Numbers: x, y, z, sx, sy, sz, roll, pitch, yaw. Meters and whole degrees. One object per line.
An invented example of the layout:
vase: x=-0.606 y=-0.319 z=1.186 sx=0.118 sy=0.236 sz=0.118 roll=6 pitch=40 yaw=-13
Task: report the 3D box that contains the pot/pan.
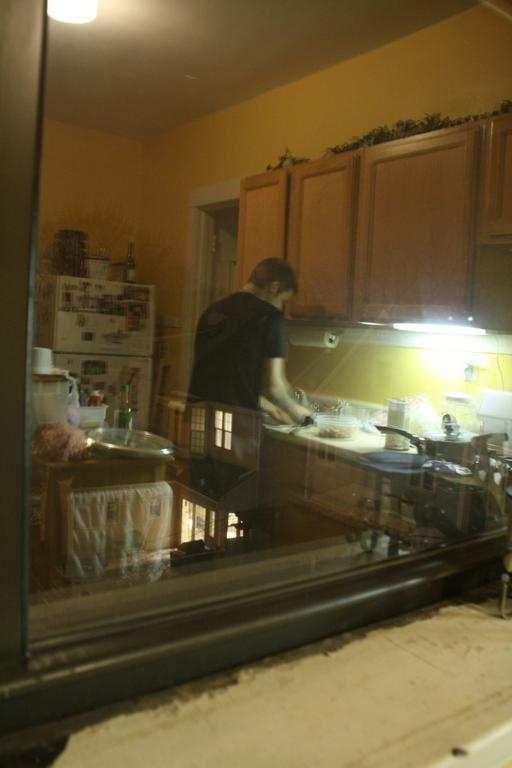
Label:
pot/pan: x=0.439 y=0.168 z=1.546 sx=0.187 sy=0.074 sz=0.138 roll=2 pitch=3 yaw=-4
